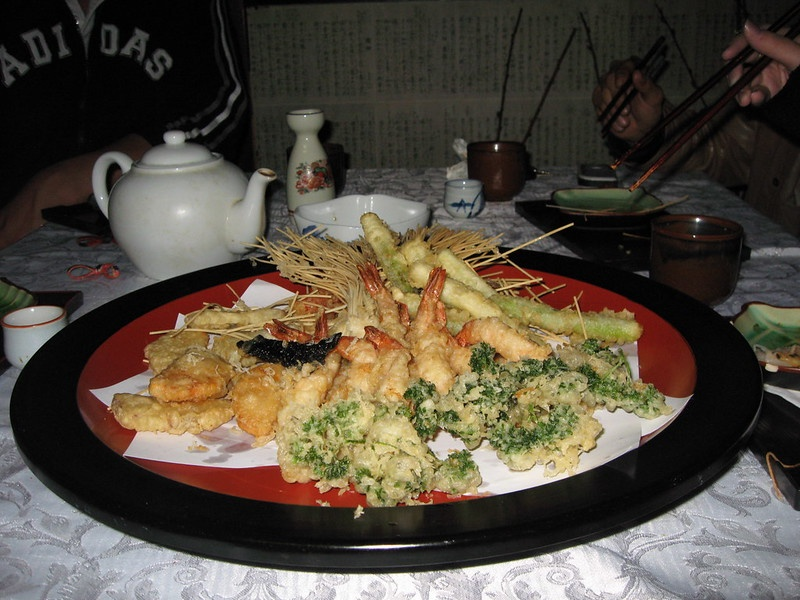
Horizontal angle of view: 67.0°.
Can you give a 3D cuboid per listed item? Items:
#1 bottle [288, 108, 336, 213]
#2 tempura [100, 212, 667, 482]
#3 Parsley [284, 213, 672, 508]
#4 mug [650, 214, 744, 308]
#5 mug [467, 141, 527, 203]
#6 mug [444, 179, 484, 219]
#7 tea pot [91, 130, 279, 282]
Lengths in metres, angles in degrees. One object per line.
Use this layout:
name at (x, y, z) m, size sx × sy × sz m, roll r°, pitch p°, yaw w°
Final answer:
bottle at (-0.338, -0.494, 2.278) m, size 0.198 × 0.417 × 0.185 m, roll 0°, pitch 28°, yaw 0°
tempura at (-0.065, 0.129, 1.167) m, size 0.777 × 0.124 × 0.563 m, roll 8°, pitch 27°, yaw 14°
Parsley at (0.110, 0.139, 1.197) m, size 0.667 × 0.113 × 0.490 m, roll 3°, pitch 41°, yaw 4°
mug at (0.763, -0.104, 1.567) m, size 0.201 × 0.194 × 0.179 m, roll -7°, pitch 27°, yaw -1°
mug at (0.389, -0.511, 2.445) m, size 0.250 × 0.196 × 0.242 m, roll 4°, pitch 24°, yaw 19°
mug at (0.229, -0.365, 2.238) m, size 0.151 × 0.112 × 0.151 m, roll 14°, pitch 28°, yaw 35°
tea pot at (-0.648, -0.299, 1.790) m, size 0.548 × 0.363 × 0.393 m, roll 14°, pitch 23°, yaw 21°
